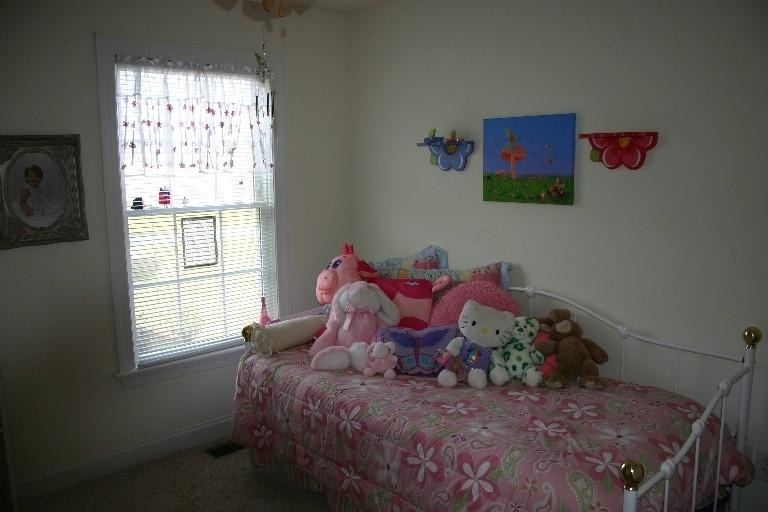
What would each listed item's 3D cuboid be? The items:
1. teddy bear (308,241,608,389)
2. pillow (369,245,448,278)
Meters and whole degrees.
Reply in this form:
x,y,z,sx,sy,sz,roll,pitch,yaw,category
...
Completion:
x,y,z,sx,sy,sz,roll,pitch,yaw,category
0.428,0.358,3.612,1.572,0.723,0.828,0,5,29,teddy bear
0.250,0.073,4.243,0.415,0.157,0.295,-1,5,-23,pillow
